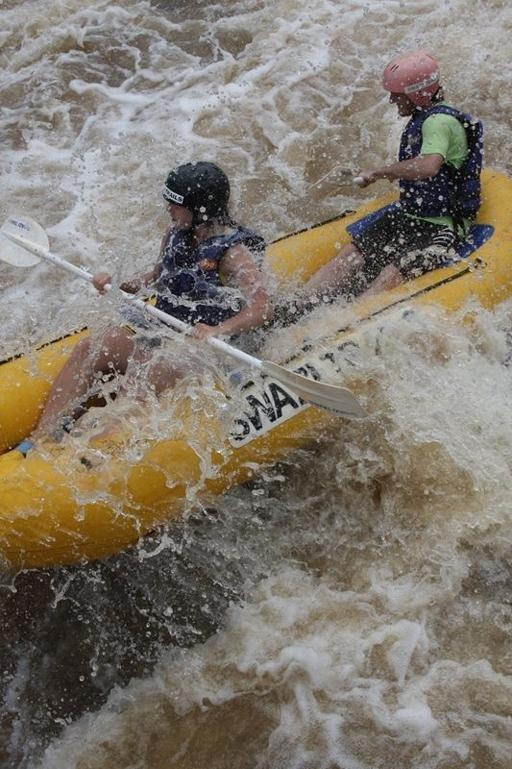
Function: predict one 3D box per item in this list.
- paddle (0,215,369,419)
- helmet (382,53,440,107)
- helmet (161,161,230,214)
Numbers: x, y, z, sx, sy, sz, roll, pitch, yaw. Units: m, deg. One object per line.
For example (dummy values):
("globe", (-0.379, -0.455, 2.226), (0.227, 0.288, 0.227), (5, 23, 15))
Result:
("paddle", (-0.317, -0.288, 4.147), (2.171, 0.350, 0.191), (28, 20, 21))
("helmet", (0.742, -1.490, 4.311), (0.294, 0.216, 0.205), (-12, 47, 0))
("helmet", (-0.258, -0.855, 3.854), (0.311, 0.222, 0.228), (-15, 37, -31))
